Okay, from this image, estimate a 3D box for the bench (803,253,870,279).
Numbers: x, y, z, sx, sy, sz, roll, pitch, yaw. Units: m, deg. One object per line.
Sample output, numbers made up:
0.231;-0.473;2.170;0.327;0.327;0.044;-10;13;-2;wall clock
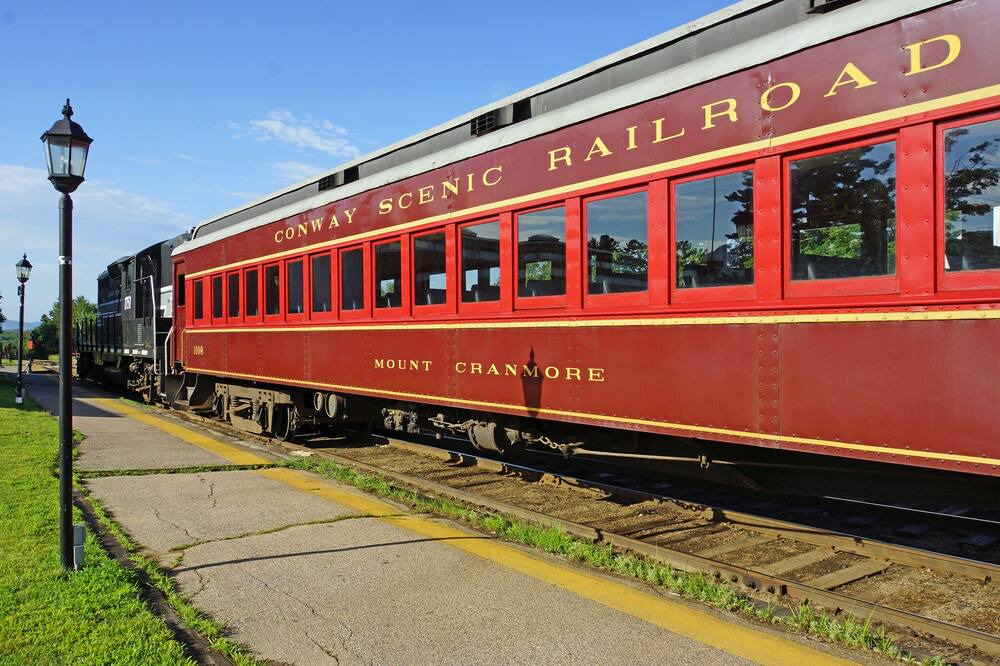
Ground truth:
2.820;-0.554;5.876;0.510;0.209;0.116;2;6;22;bench
